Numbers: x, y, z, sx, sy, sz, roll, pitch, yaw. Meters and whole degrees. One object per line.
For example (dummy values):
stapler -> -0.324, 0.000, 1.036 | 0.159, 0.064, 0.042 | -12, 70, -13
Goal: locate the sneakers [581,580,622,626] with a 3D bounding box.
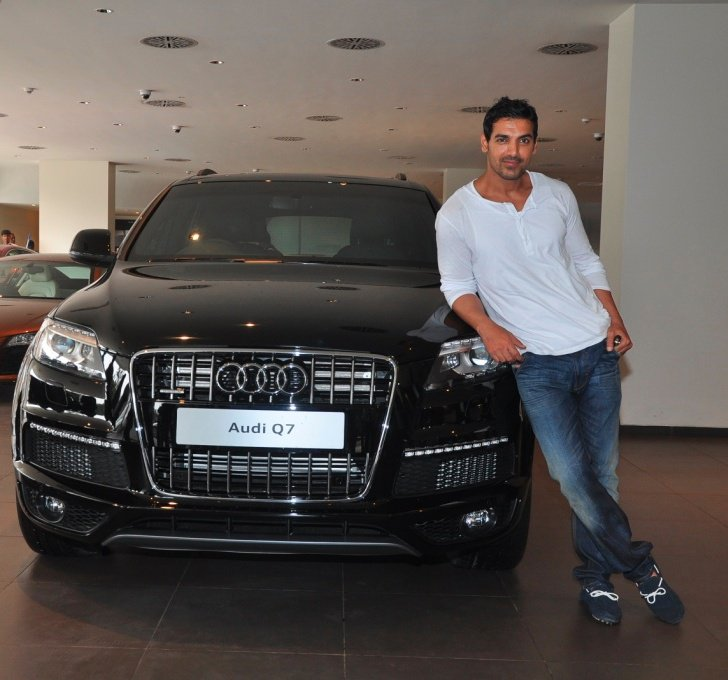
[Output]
sneakers -> 0.717, 0.805, 1.959 | 0.073, 0.059, 0.168 | 0, -1, 1

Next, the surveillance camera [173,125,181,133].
surveillance camera -> -3.807, -4.298, 12.993 | 0.163, 0.091, 0.145 | -3, 4, 21

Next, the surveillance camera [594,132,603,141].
surveillance camera -> 4.744, -4.126, 12.916 | 0.191, 0.138, 0.160 | 2, 5, 2

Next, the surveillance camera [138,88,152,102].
surveillance camera -> -3.550, -3.977, 10.333 | 0.202, 0.192, 0.214 | -1, 5, -4

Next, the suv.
suv -> -0.236, -0.016, 2.503 | 1.406, 0.820, 1.998 | 0, 4, 2
